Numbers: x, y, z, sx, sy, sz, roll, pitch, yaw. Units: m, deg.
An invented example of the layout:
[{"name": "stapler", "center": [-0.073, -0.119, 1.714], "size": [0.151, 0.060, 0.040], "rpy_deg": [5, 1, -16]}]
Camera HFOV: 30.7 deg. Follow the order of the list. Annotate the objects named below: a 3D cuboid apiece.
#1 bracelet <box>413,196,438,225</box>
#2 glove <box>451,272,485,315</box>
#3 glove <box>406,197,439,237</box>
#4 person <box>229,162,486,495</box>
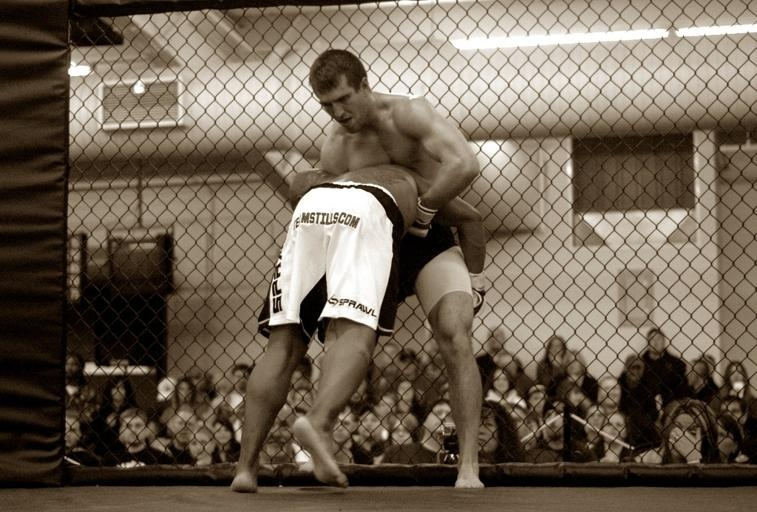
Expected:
[{"name": "bracelet", "center": [0.292, -0.310, 8.944], "size": [0.137, 0.137, 0.161], "rpy_deg": [-28, -16, 33]}, {"name": "glove", "center": [0.596, 0.235, 9.158], "size": [0.129, 0.202, 0.290], "rpy_deg": [-13, -21, 1]}, {"name": "glove", "center": [0.287, -0.260, 9.017], "size": [0.178, 0.234, 0.157], "rpy_deg": [20, 8, -6]}, {"name": "person", "center": [-0.160, 0.457, 8.856], "size": [1.384, 2.153, 0.536], "rpy_deg": [5, -12, -10]}]
